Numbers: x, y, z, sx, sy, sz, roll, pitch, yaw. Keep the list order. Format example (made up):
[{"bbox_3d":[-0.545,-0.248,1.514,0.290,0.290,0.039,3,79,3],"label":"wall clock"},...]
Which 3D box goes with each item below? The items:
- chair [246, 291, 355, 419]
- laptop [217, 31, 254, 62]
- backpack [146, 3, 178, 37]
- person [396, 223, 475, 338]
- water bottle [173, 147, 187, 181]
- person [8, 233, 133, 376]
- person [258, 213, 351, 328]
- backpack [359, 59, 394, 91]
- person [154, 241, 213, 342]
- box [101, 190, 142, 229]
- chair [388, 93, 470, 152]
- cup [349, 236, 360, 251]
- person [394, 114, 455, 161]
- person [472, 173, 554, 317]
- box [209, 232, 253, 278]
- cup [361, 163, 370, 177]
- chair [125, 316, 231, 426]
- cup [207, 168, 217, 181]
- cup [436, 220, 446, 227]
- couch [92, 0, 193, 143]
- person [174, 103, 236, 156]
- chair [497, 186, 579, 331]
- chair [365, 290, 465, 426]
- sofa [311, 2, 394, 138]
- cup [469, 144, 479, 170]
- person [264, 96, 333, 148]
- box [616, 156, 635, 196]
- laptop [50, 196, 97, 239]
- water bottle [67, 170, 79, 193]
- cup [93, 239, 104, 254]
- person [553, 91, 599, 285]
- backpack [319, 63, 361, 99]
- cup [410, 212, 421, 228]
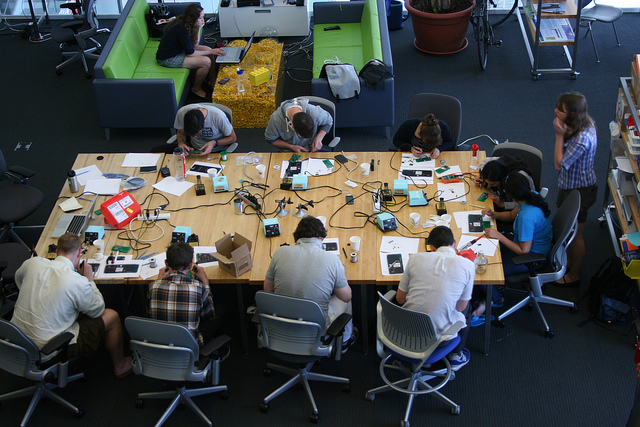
[{"bbox_3d":[-0.160,1.326,4.253,0.743,1.009,0.777,7,47,8],"label":"chair"},{"bbox_3d":[-1.440,-2.721,7.593,0.339,0.244,0.415,7,47,0],"label":"laptop"},{"bbox_3d":[-2.794,-3.367,8.040,0.455,0.250,0.683,-17,42,-5],"label":"backpack"},{"bbox_3d":[0.994,0.594,3.995,0.499,0.994,0.610,20,59,12],"label":"person"},{"bbox_3d":[-1.631,-0.579,5.393,0.136,0.304,0.371,-8,21,-15],"label":"water bottle"},{"bbox_3d":[-2.419,0.921,4.367,0.900,1.372,0.907,14,17,25],"label":"person"},{"bbox_3d":[-0.134,0.545,4.153,0.538,0.963,0.563,14,40,7],"label":"person"},{"bbox_3d":[0.796,-1.961,6.585,0.444,0.409,0.215,-1,20,6],"label":"backpack"},{"bbox_3d":[-1.196,0.714,4.067,0.468,1.088,0.656,5,56,-4],"label":"person"},{"bbox_3d":[-2.143,-0.043,4.943,0.284,0.270,0.410,10,25,7],"label":"box"},{"bbox_3d":[1.346,-1.131,6.007,0.800,1.129,0.801,6,30,9],"label":"chair"},{"bbox_3d":[0.346,0.294,4.541,0.096,0.128,0.105,-3,20,1],"label":"cup"},{"bbox_3d":[1.219,-0.883,5.431,0.592,0.537,0.900,0,-3,2],"label":"person"},{"bbox_3d":[1.939,0.343,4.620,0.687,1.509,0.719,8,22,28],"label":"person"},{"bbox_3d":[-0.817,0.396,4.419,0.298,0.286,0.406,20,28,27],"label":"box"},{"bbox_3d":[0.519,-0.494,5.228,0.084,0.125,0.140,1,50,6],"label":"cup"},{"bbox_3d":[-1.265,1.431,4.151,0.634,0.867,0.742,7,42,1],"label":"chair"},{"bbox_3d":[-1.241,-0.470,5.348,0.100,0.115,0.133,6,51,-2],"label":"cup"},{"bbox_3d":[1.226,0.090,4.694,0.093,0.040,0.080,-10,22,-18],"label":"cup"},{"bbox_3d":[-2.702,-2.133,7.145,1.104,1.175,2.928,-3,53,-5],"label":"couch"},{"bbox_3d":[-1.421,-1.017,5.715,0.457,0.444,0.827,22,6,3],"label":"person"},{"bbox_3d":[2.224,0.440,4.853,0.851,1.361,0.936,-8,18,4],"label":"chair"},{"bbox_3d":[0.882,1.320,4.147,0.684,0.928,0.713,24,60,27],"label":"chair"},{"bbox_3d":[0.504,-2.131,6.998,1.180,1.190,3.139,0,59,-1],"label":"sofa"},{"bbox_3d":[1.772,-0.665,5.293,0.101,0.256,0.251,4,21,17],"label":"cup"},{"bbox_3d":[-0.134,-1.076,5.779,0.870,0.692,0.718,-20,26,-38],"label":"person"},{"bbox_3d":[3.441,-0.428,5.208,0.141,0.390,0.368,5,22,21],"label":"box"},{"bbox_3d":[-2.586,0.092,4.784,0.223,0.167,0.278,7,48,1],"label":"laptop"},{"bbox_3d":[-2.784,-0.373,5.210,0.094,0.240,0.232,-13,22,-26],"label":"water bottle"},{"bbox_3d":[-2.181,0.325,4.583,0.094,0.107,0.123,7,51,-1],"label":"cup"},{"bbox_3d":[2.786,-0.235,5.101,0.527,2.056,0.639,7,13,34],"label":"person"},{"bbox_3d":[0.235,-2.023,7.034,0.763,0.450,1.090,-2,11,-3],"label":"backpack"},{"bbox_3d":[0.945,0.057,4.712,0.116,0.134,0.130,0,52,-1],"label":"cup"}]
